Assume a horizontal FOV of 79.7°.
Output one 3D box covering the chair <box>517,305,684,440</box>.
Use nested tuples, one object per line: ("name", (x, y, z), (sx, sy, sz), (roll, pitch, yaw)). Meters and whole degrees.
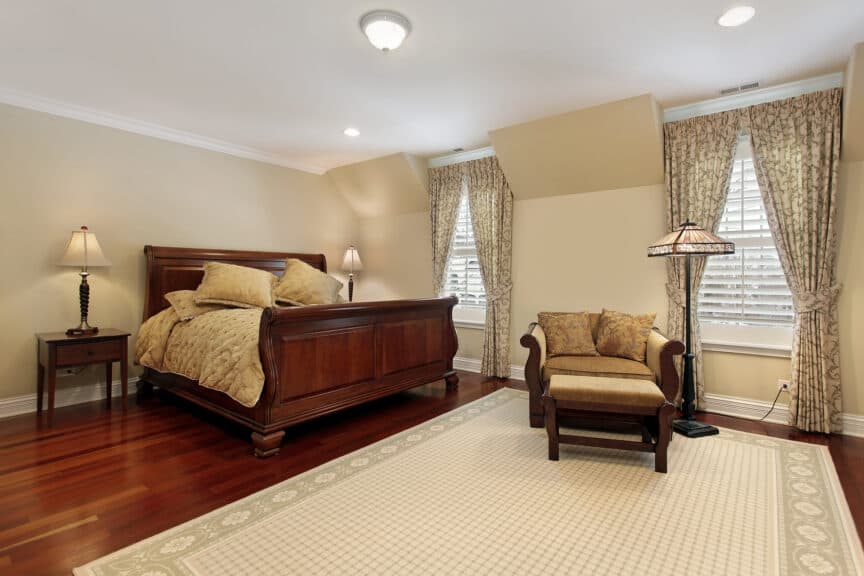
("chair", (1.758, 0.843, 5.523), (1.532, 1.015, 1.122), (-1, 5, 12))

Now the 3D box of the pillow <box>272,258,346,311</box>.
("pillow", (-1.579, -0.081, 6.757), (0.985, 0.593, 0.715), (6, -1, 19))

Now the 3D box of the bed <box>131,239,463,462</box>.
("bed", (-1.970, 0.571, 6.056), (2.670, 1.565, 2.689), (-1, 0, 39))

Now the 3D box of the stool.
("stool", (1.702, 1.184, 4.946), (0.847, 0.501, 0.930), (1, 4, 19))

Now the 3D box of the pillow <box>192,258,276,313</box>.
("pillow", (-2.429, 0.003, 6.335), (0.809, 0.749, 0.237), (10, -32, -26))

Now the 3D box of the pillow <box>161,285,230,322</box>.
("pillow", (-2.873, 0.182, 6.009), (0.426, 0.125, 0.446), (28, 29, 29))

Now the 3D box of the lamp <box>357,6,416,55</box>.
("lamp", (-0.408, -2.233, 4.491), (0.453, 0.232, 0.276), (-2, 2, -3))

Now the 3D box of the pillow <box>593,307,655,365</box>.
("pillow", (2.073, 0.506, 5.582), (0.544, 0.518, 0.254), (7, -19, 41))

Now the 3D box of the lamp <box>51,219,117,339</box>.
("lamp", (-3.871, -0.098, 5.746), (0.435, 1.219, 0.558), (-4, 3, -33))

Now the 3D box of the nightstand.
("nightstand", (-3.875, 0.962, 5.701), (0.649, 0.869, 0.838), (4, 4, 43))
